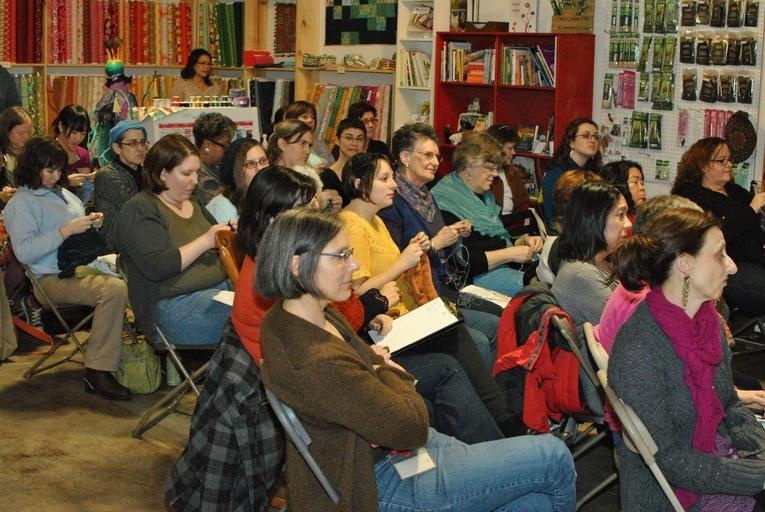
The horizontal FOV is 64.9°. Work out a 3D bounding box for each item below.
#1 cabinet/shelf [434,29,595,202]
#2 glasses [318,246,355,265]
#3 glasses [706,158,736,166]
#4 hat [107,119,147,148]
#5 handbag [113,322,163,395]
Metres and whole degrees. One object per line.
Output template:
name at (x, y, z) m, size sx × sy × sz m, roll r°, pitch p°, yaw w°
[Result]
cabinet/shelf at (1.360, -1.433, 5.941) m, size 1.797 × 2.092 × 0.604 m, roll 9°, pitch 15°, yaw 35°
glasses at (-0.162, -0.006, 2.226) m, size 0.041 × 0.050 × 0.166 m, roll 10°, pitch 12°, yaw 40°
glasses at (2.760, -0.771, 4.902) m, size 0.123 × 0.037 × 0.126 m, roll 0°, pitch 3°, yaw -11°
hat at (-2.113, -1.034, 4.907) m, size 0.259 × 0.112 × 0.226 m, roll -27°, pitch 17°, yaw -13°
handbag at (-1.768, 0.749, 4.299) m, size 0.233 × 0.405 × 0.413 m, roll -9°, pitch 56°, yaw -14°
